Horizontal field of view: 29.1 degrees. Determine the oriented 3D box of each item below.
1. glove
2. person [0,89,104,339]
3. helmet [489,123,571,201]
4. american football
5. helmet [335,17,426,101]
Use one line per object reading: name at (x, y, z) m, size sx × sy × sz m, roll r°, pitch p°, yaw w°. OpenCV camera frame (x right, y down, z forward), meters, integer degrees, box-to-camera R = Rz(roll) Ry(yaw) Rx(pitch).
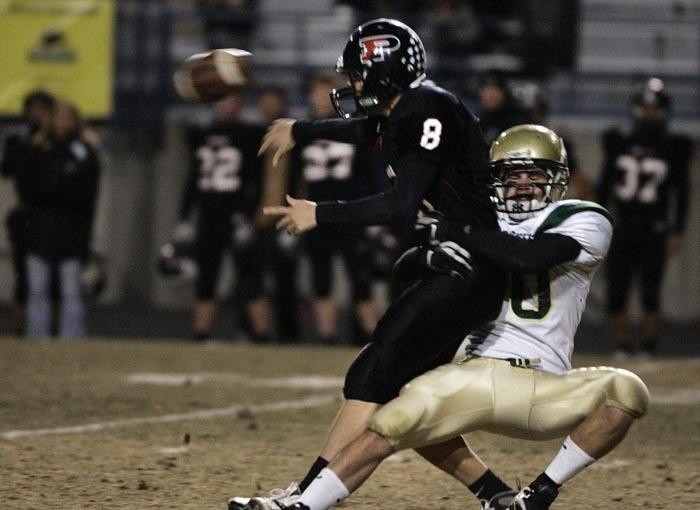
glove at (0.505, -0.033, 7.367) m, size 0.281 × 0.353 × 0.166 m, roll -39°, pitch -12°, yaw 11°
person at (-2.545, -0.302, 11.516) m, size 0.736 × 2.121 × 0.475 m, roll 4°, pitch 6°, yaw -13°
helmet at (1.012, -0.514, 7.606) m, size 0.410 × 0.382 × 0.511 m, roll 0°, pitch -3°, yaw 42°
american football at (-0.818, -1.079, 7.952) m, size 0.437 × 0.204 × 0.283 m, roll -23°, pitch 36°, yaw 0°
helmet at (0.207, -1.092, 7.686) m, size 0.606 × 0.459 × 0.491 m, roll -4°, pitch 4°, yaw 35°
